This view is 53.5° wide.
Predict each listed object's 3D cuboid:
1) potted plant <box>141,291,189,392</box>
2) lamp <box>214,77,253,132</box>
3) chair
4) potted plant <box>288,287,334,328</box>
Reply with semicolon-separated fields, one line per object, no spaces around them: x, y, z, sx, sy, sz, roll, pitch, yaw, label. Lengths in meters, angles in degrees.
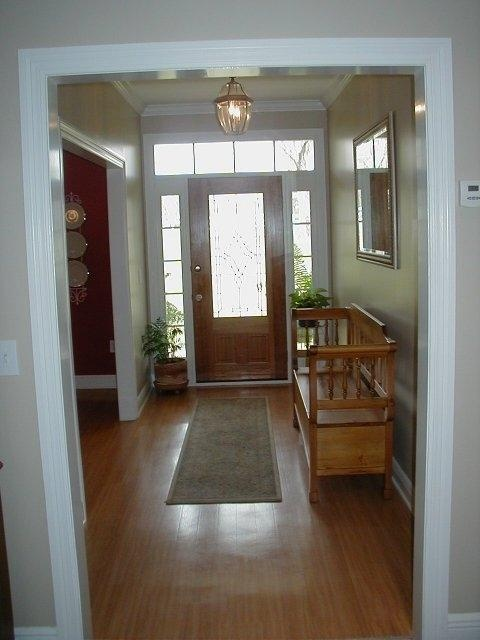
-0.792;0.345;5.112;0.467;0.962;0.395;-6;-1;-42;potted plant
-0.064;-1.714;3.643;0.236;0.638;0.249;-2;-2;-9;lamp
0.657;0.457;3.323;0.484;0.981;1.499;-1;7;4;chair
0.689;-0.142;4.587;0.387;0.316;0.418;-1;6;9;potted plant
